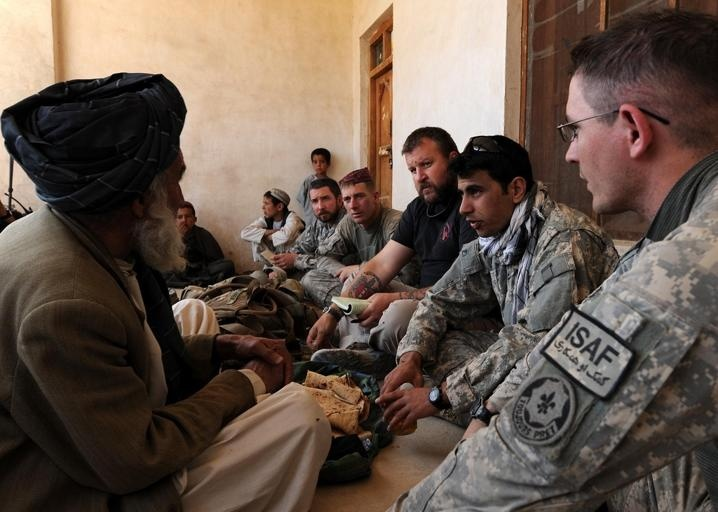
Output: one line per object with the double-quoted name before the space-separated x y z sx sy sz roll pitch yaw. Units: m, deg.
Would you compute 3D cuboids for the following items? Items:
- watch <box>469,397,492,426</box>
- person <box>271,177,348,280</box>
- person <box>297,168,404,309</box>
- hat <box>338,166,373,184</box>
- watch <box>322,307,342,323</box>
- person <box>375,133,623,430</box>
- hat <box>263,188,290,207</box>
"watch" 0.395 0.505 1.755 0.085 0.065 0.097 36 -11 15
"person" -0.406 -0.251 5.072 0.968 0.894 0.642 -1 4 -32
"person" -0.001 -0.088 4.162 0.917 1.130 0.889 -6 5 -27
"hat" -0.009 -0.636 4.040 0.228 0.108 0.160 -17 18 -30
"watch" -0.147 0.310 2.995 0.101 0.065 0.094 24 -20 7
"person" 0.542 0.102 2.212 1.081 1.072 0.778 -4 1 -15
"hat" -1.000 -0.743 6.860 0.230 0.153 0.287 25 -12 9
